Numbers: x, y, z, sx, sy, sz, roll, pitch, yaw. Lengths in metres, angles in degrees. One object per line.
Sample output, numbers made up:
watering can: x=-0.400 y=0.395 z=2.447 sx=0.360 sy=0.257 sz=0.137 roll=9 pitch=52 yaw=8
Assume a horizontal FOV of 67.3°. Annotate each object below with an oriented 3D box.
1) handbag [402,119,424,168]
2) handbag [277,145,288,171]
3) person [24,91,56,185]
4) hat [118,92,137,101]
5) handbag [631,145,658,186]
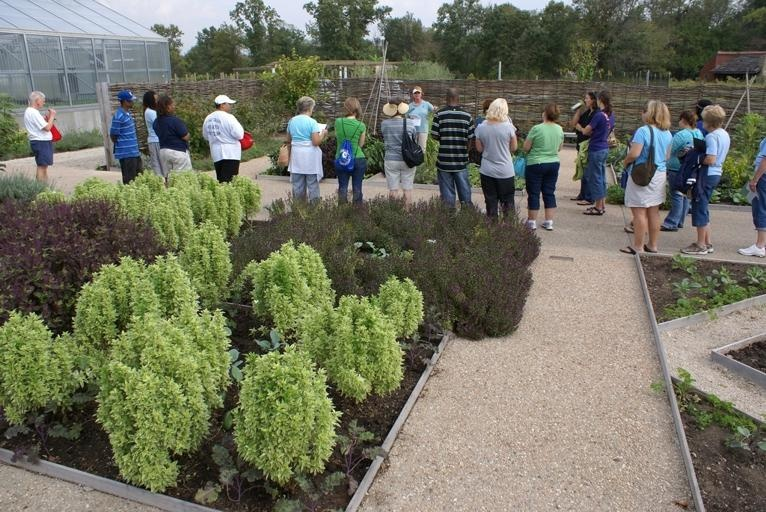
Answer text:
handbag: x=0.494 y=-1.906 z=9.718 sx=0.342 sy=0.836 sz=0.283 roll=-2 pitch=15 yaw=0
handbag: x=-1.672 y=-1.721 z=9.822 sx=0.190 sy=0.380 sz=0.589 roll=-5 pitch=16 yaw=-9
person: x=-6.864 y=-2.415 z=11.657 sx=0.494 sy=1.780 sz=0.929 roll=-11 pitch=18 yaw=-30
hat: x=-4.662 y=-2.917 z=10.478 sx=0.216 sy=0.191 sz=0.296 roll=-8 pitch=17 yaw=-19
handbag: x=3.816 y=-1.309 z=8.357 sx=0.347 sy=0.527 sz=0.161 roll=0 pitch=15 yaw=5
